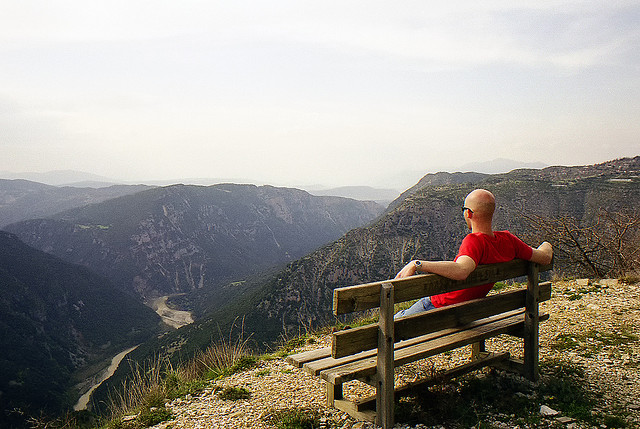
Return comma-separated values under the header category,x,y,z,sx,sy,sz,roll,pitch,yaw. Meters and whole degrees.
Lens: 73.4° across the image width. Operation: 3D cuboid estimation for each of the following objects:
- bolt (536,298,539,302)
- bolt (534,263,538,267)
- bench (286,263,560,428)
category,x,y,z,sx,sy,sz,roll,pitch,yaw
bolt,4.752,1.865,9.358,0.082,0.072,0.019,16,0,-40
bolt,4.661,1.080,9.230,0.125,0.073,0.053,3,9,35
bench,2.342,2.500,8.978,5.752,2.878,2.369,-8,7,-29
